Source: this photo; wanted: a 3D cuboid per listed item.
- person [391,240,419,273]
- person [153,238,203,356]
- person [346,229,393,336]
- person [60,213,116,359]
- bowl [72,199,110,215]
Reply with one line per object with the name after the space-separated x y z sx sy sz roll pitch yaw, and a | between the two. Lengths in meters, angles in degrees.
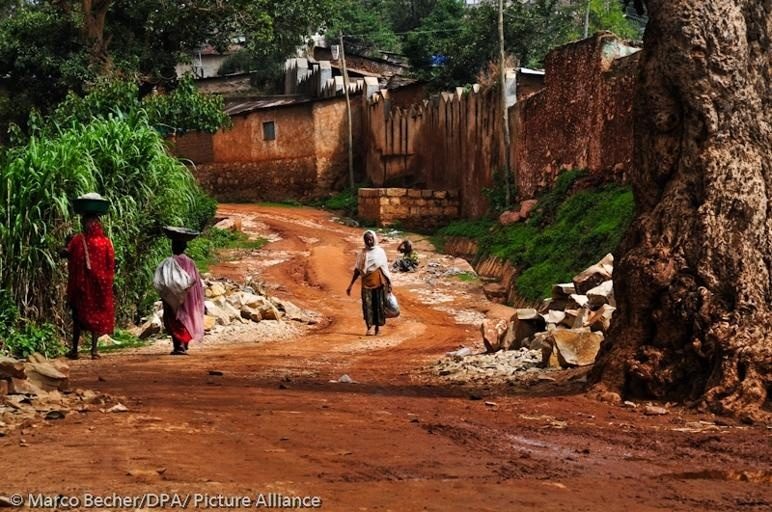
0.527 0.064 20.411 0.727 0.955 0.871 4 -5 -18 | person
-2.695 0.448 10.916 0.600 1.632 0.738 5 7 7 | person
-0.246 0.438 13.586 0.622 1.743 0.686 4 7 0 | person
-3.540 0.493 10.019 0.539 1.459 0.395 1 8 -21 | person
-3.593 -0.607 10.212 0.392 0.214 0.238 1 8 -19 | bowl
